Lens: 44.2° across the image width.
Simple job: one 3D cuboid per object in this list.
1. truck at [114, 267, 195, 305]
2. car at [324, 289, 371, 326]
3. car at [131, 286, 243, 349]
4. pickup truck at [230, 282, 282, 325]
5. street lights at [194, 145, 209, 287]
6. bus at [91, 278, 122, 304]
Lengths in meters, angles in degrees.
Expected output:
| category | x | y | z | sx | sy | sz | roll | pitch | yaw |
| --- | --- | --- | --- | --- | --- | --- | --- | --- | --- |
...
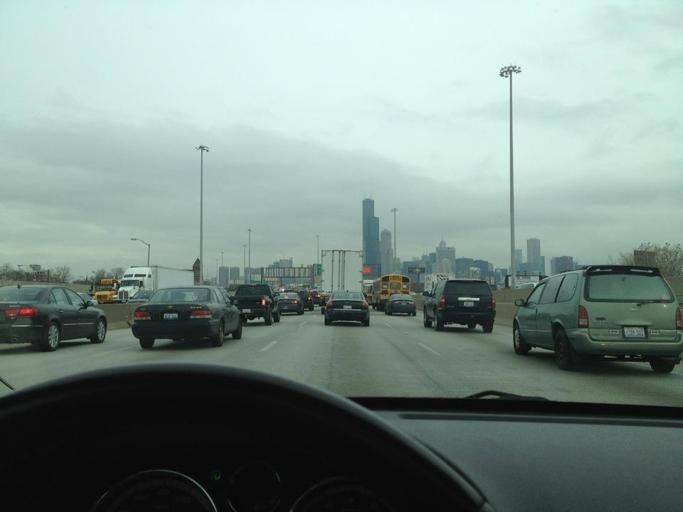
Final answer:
| category | x | y | z | sx | sy | sz | roll | pitch | yaw |
| --- | --- | --- | --- | --- | --- | --- | --- | --- | --- |
| truck | -9.394 | 1.365 | 41.595 | 1.628 | 2.616 | 6.043 | -3 | -8 | 12 |
| car | 0.161 | 1.614 | 26.056 | 1.326 | 0.804 | 1.624 | -2 | -2 | -6 |
| car | -2.949 | 1.214 | 16.297 | 1.372 | 1.284 | 2.726 | 3 | -1 | 0 |
| pickup truck | -2.690 | 1.507 | 27.012 | 1.244 | 1.446 | 2.245 | 3 | 1 | 4 |
| street lights | -5.639 | -2.000 | 34.204 | 0.806 | 4.575 | 0.827 | 1 | 0 | -20 |
| bus | -17.512 | 2.597 | 63.002 | 1.415 | 2.020 | 3.871 | 0 | -7 | -3 |
